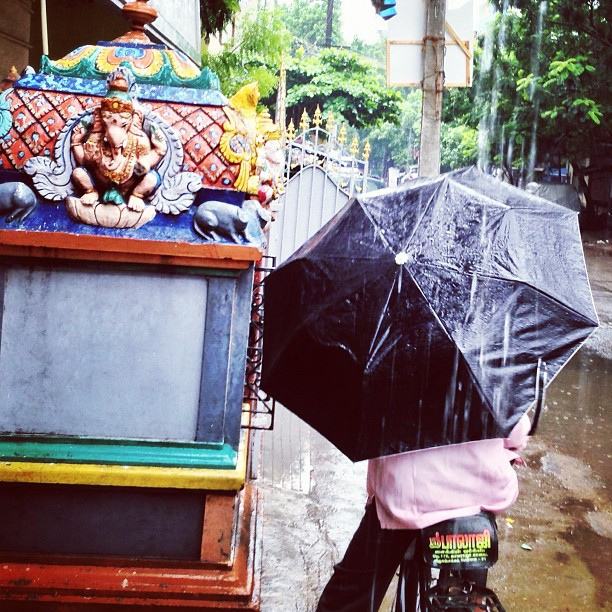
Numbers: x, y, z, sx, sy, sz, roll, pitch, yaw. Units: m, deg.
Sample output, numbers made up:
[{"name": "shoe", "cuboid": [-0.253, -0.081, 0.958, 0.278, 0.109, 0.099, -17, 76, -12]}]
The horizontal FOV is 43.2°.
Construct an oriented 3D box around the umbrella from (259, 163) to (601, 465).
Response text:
[{"name": "umbrella", "cuboid": [0.362, 0.015, 2.435, 0.947, 0.976, 0.321, 42, -1, 23]}]
